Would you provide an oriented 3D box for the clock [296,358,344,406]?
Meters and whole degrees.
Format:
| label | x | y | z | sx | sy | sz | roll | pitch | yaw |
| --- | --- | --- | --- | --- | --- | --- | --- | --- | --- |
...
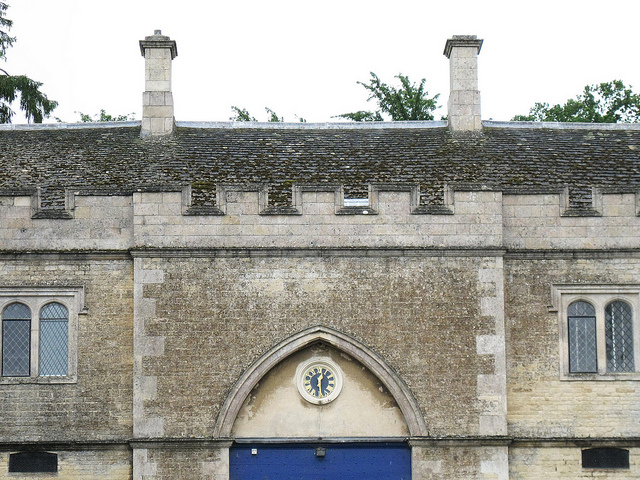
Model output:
| label | x | y | z | sx | sy | sz | roll | pitch | yaw |
| --- | --- | --- | --- | --- | --- | --- | --- | --- | --- |
| clock | 0.045 | 3.281 | 55.007 | 0.967 | 0.950 | 0.107 | 9 | -7 | -3 |

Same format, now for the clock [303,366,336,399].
| label | x | y | z | sx | sy | sz | roll | pitch | yaw |
| --- | --- | --- | --- | --- | --- | --- | --- | --- | --- |
| clock | 0.043 | 3.274 | 55.013 | 0.653 | 0.644 | 0.058 | 11 | -6 | -3 |
